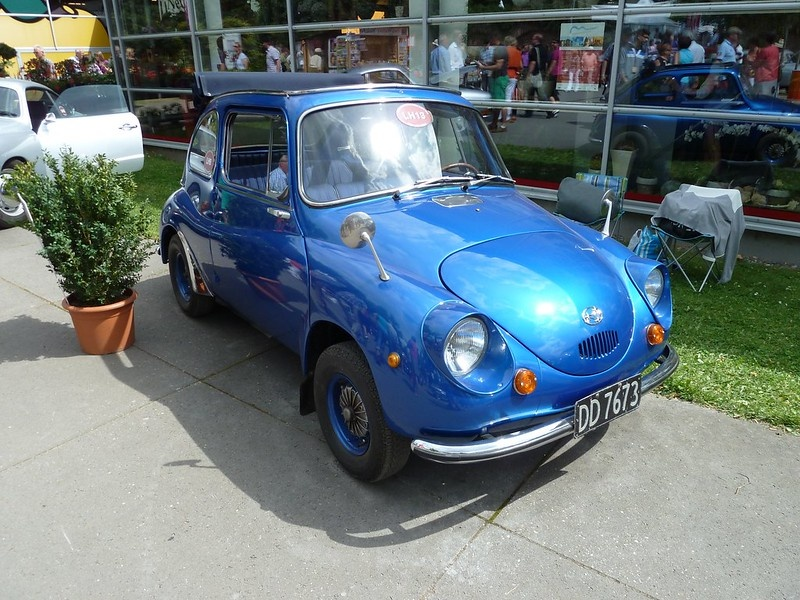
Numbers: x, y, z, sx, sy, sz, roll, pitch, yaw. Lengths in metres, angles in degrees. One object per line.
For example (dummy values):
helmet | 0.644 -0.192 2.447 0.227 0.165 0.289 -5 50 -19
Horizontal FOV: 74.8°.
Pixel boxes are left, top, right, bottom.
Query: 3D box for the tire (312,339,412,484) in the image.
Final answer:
tire | -0.229 0.731 3.415 0.214 0.763 0.669 -12 43 -32

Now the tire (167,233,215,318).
tire | -2.157 -0.272 5.425 0.207 0.752 0.659 -15 26 -32

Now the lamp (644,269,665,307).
lamp | 1.850 -0.084 3.787 0.229 0.241 0.103 13 -8 -39

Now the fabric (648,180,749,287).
fabric | 3.563 -0.791 6.281 0.823 1.144 0.902 -9 21 -22

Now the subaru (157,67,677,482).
subaru | -0.192 -0.467 4.498 2.603 2.173 4.485 -19 33 -38

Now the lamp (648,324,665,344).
lamp | 1.749 0.232 3.556 0.121 0.128 0.047 -6 6 -37

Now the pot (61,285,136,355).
pot | -2.853 0.240 5.171 0.623 0.495 0.639 8 25 -4

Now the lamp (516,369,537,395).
lamp | 0.741 0.481 3.066 0.129 0.138 0.044 8 -2 -22
